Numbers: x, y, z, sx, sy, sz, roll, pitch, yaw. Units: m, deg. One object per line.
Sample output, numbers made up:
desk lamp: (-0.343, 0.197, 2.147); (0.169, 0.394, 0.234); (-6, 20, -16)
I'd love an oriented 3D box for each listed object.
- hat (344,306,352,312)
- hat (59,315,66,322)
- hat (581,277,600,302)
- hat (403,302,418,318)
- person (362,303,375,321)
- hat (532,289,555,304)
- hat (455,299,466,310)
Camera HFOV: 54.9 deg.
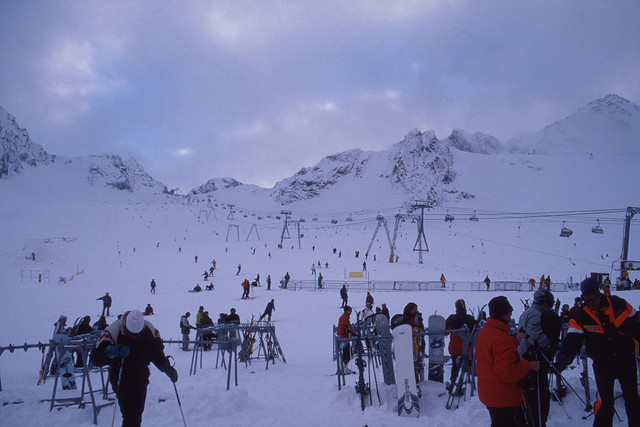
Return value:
hat: (1.666, 5.811, 37.548); (0.385, 0.368, 0.411); (-4, -13, 2)
hat: (-15.003, 6.092, 35.656); (0.236, 0.414, 0.836); (2, -14, -23)
hat: (14.316, 3.827, 32.580); (0.737, 0.922, 1.017); (-6, 7, 43)
hat: (5.253, 5.642, 36.013); (0.815, 0.842, 0.668); (-7, 4, 11)
person: (3.016, 6.109, 38.498); (0.553, 1.059, 0.751); (12, -38, -1)
hat: (11.998, 4.421, 32.922); (0.933, 0.546, 0.671); (-5, 5, -19)
hat: (8.215, 5.284, 35.844); (0.535, 0.616, 0.411); (0, -13, -12)
